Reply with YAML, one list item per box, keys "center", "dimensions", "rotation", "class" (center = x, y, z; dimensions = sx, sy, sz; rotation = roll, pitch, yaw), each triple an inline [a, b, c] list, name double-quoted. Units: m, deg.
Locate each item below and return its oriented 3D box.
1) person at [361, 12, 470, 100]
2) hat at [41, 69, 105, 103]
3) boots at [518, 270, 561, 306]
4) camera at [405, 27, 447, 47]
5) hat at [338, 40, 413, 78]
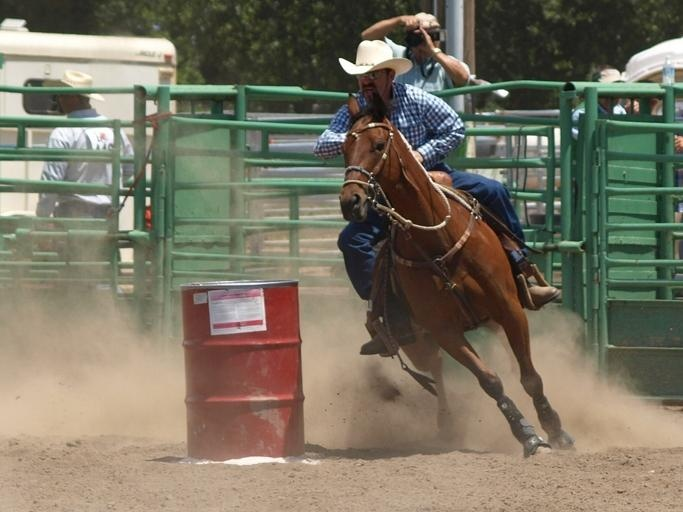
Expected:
- center: [0.701, -2.188, 15.669]
  dimensions: [0.786, 0.354, 0.891]
  rotation: [-31, 28, -37]
  class: "person"
- center: [-3.169, -2.002, 17.900]
  dimensions: [0.723, 0.197, 0.702]
  rotation: [5, -9, -3]
  class: "hat"
- center: [1.805, 0.286, 14.226]
  dimensions: [0.399, 0.276, 0.134]
  rotation: [-12, 20, 47]
  class: "boots"
- center: [0.859, -2.238, 15.572]
  dimensions: [0.255, 0.100, 0.244]
  rotation: [-6, -20, -3]
  class: "camera"
- center: [0.313, -1.845, 14.120]
  dimensions: [0.620, 0.352, 0.706]
  rotation: [-3, 3, -6]
  class: "hat"
